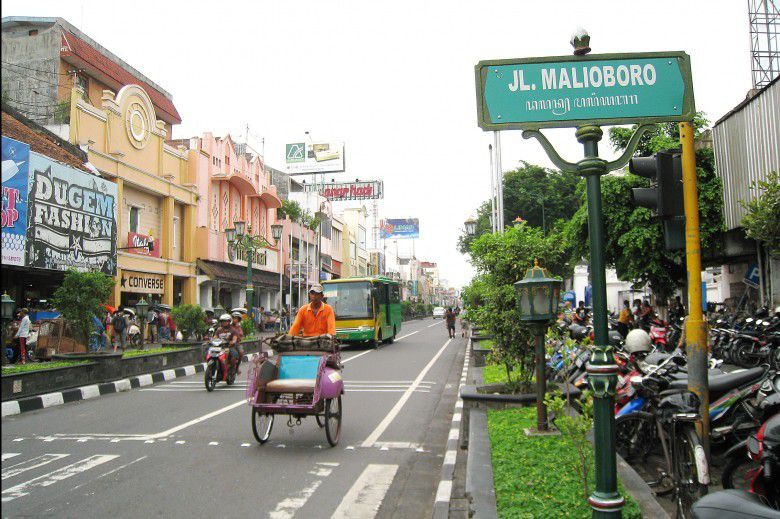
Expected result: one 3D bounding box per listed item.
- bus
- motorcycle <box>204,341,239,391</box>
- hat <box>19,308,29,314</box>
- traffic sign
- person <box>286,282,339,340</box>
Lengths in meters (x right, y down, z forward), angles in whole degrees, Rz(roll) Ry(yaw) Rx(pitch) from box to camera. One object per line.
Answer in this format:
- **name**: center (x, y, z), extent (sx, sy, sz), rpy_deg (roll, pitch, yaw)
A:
- **bus**: center (-0.975, 2.210, 31.267), extent (1.771, 2.455, 8.393), rpy_deg (-1, -3, 8)
- **motorcycle**: center (-4.289, 2.661, 18.569), extent (0.413, 1.263, 1.136), rpy_deg (2, 6, 25)
- **hat**: center (-11.571, 1.663, 23.345), extent (0.167, 0.214, 0.214), rpy_deg (1, -7, -2)
- **traffic sign**: center (2.484, -2.153, 9.422), extent (2.790, 0.965, 0.206), rpy_deg (-2, 6, -2)
- **person**: center (-1.446, 1.025, 14.353), extent (0.957, 1.369, 0.905), rpy_deg (-1, -5, 2)
